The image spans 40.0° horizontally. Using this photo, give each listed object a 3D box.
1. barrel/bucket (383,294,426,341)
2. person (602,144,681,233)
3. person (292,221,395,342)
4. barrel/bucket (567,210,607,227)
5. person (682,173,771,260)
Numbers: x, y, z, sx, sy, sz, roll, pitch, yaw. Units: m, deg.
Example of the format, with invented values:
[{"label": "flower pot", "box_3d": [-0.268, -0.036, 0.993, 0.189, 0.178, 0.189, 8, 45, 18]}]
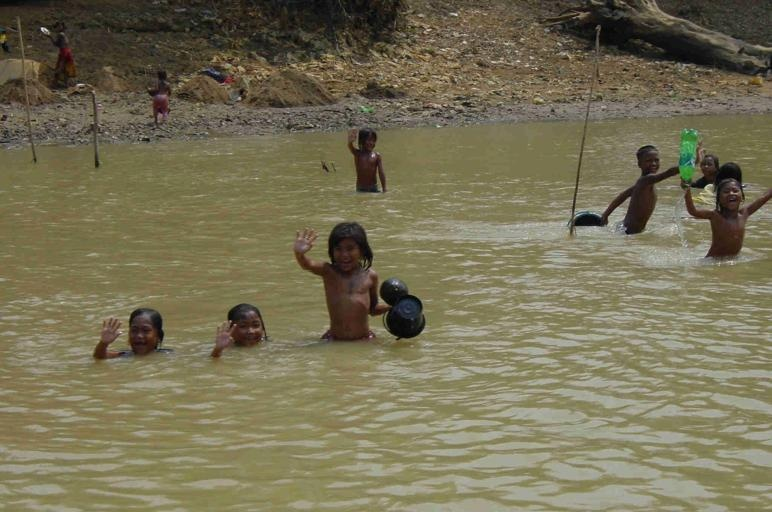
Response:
[{"label": "barrel/bucket", "box_3d": [0.217, 0.637, 11.172, 0.570, 0.405, 0.345, 1, -21, 0]}, {"label": "person", "box_3d": [3.326, -0.901, 14.187, 0.785, 1.183, 1.221, 1, 11, 10]}, {"label": "person", "box_3d": [-0.476, 0.266, 11.247, 0.969, 1.266, 0.398, -5, 13, -17]}, {"label": "barrel/bucket", "box_3d": [2.746, -0.518, 14.454, 0.461, 0.197, 0.283, -2, 9, -6]}, {"label": "person", "box_3d": [4.123, -0.465, 12.993, 1.301, 0.977, 0.500, -6, 13, -28]}]
